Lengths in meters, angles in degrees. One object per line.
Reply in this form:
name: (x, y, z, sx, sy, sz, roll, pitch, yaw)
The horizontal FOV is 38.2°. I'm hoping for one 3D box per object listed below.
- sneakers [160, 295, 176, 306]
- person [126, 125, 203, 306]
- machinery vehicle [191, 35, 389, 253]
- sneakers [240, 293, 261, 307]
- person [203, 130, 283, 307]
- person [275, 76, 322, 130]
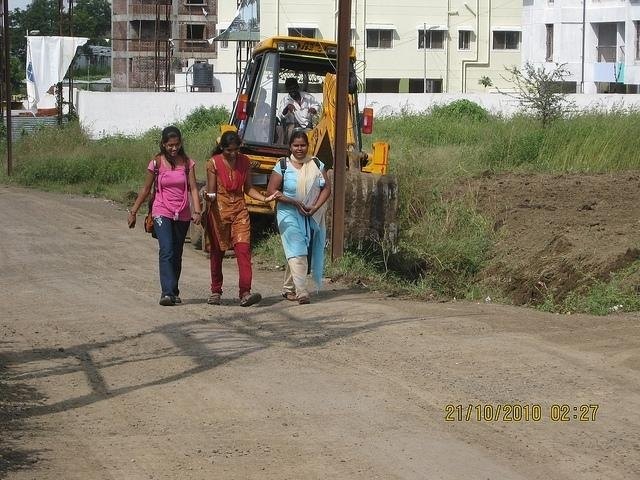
sneakers: (-1.899, 0.731, 11.374, 0.195, 0.152, 0.139, -3, 13, -10)
person: (-1.907, -0.280, 11.432, 0.793, 2.182, 0.656, -4, 13, -15)
machinery vehicle: (-0.459, -1.665, 15.788, 2.834, 3.355, 6.145, 6, 4, -23)
sneakers: (-0.875, 0.733, 11.451, 0.262, 0.128, 0.126, -28, 39, 2)
person: (-1.105, -0.253, 11.489, 0.788, 2.150, 0.601, 0, 13, 4)
person: (-0.380, -2.233, 15.184, 0.674, 0.827, 0.670, 2, 13, 11)
